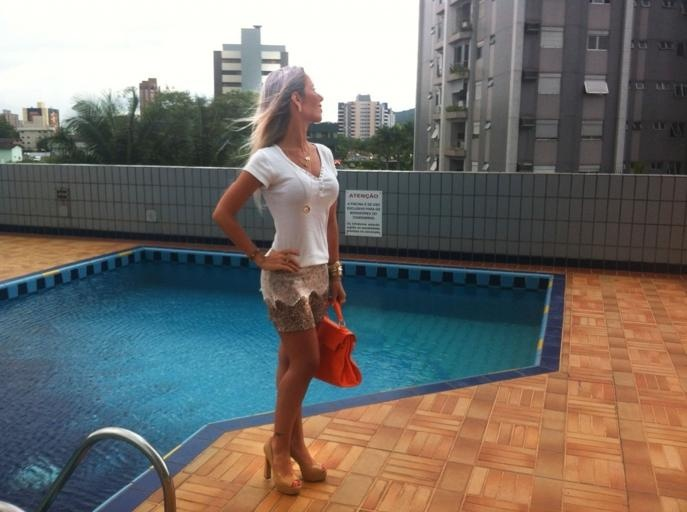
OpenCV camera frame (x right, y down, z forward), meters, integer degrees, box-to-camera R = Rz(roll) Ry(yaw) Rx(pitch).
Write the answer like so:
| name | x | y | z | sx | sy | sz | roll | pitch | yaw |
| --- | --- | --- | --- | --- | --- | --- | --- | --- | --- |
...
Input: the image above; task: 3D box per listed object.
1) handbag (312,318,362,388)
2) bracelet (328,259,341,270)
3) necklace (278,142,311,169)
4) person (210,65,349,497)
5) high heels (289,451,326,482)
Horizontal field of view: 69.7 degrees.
| name | x | y | z | sx | sy | sz | roll | pitch | yaw |
| --- | --- | --- | --- | --- | --- | --- | --- | --- | --- |
| handbag | -0.029 | 0.466 | 2.347 | 0.109 | 0.299 | 0.289 | 3 | -1 | -29 |
| bracelet | -0.039 | 0.044 | 2.446 | 0.037 | 0.025 | 0.048 | 1 | -11 | -32 |
| necklace | -0.206 | -0.436 | 2.186 | 0.154 | 0.110 | 0.119 | -5 | 12 | -23 |
| person | -0.268 | 0.156 | 2.296 | 0.536 | 1.996 | 0.414 | 1 | 11 | 1 |
| high heels | -0.178 | 1.036 | 2.434 | 0.083 | 0.079 | 0.244 | -3 | 7 | -35 |
